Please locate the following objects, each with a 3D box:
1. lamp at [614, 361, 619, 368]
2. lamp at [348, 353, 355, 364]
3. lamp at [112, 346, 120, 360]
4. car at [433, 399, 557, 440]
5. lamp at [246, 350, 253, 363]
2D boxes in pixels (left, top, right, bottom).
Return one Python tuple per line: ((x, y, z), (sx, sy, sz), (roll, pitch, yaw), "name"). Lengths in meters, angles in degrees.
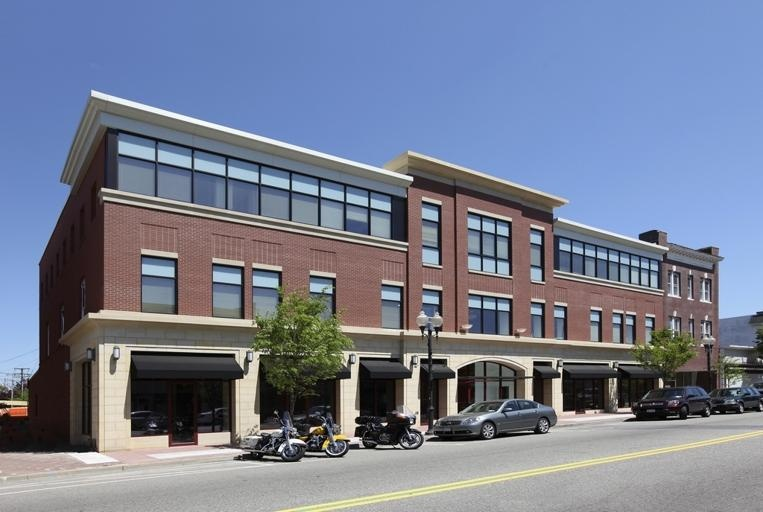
((16.064, 7.502, 54.774), (0.582, 0.508, 0.149), (13, -22, -41), "lamp")
((-1.506, 5.210, 40.601), (0.293, 0.577, 0.428), (-10, -14, 36), "lamp")
((-11.441, 4.218, 34.636), (0.304, 0.596, 0.452), (-1, -17, -6), "lamp")
((5.447, 7.751, 37.815), (5.684, 1.943, 1.479), (6, -19, -27), "car")
((-6.117, 4.741, 37.454), (0.324, 0.502, 0.408), (2, -17, -14), "lamp")
